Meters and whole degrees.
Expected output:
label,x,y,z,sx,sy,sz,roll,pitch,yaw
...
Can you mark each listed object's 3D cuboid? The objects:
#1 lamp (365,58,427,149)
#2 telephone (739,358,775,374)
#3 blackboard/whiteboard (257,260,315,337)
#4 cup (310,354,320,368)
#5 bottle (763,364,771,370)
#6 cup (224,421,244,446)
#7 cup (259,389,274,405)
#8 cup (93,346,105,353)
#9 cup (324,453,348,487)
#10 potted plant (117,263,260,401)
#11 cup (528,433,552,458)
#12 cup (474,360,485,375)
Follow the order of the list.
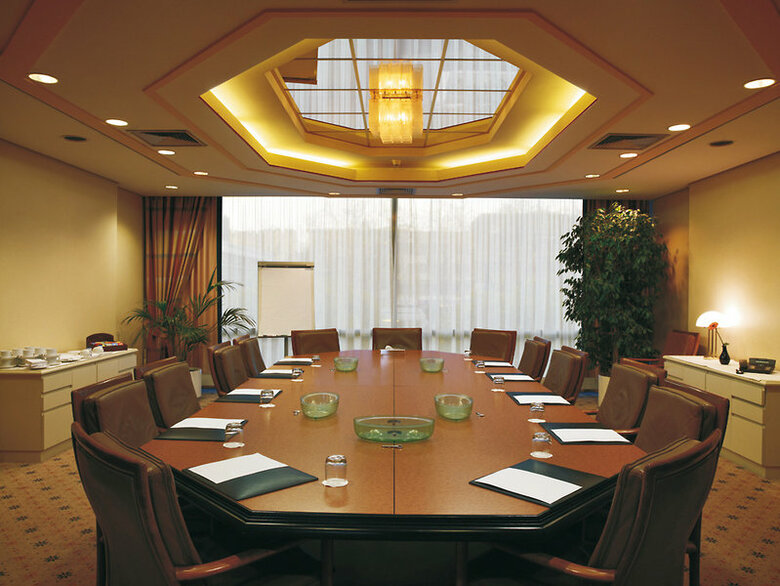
label,x,y,z,sx,sy,sz,roll,pitch,yaw
lamp,0.049,-1.620,4.515,0.467,0.485,0.647,1,1,0
telephone,3.388,0.667,4.905,0.174,0.090,0.209,-2,-7,25
blackboard/whiteboard,-1.495,0.090,7.540,1.035,1.408,0.144,0,-4,-4
cup,-0.719,0.641,5.021,0.088,0.107,0.090,1,3,0
bottle,3.428,0.669,4.824,0.041,0.053,0.074,6,-6,-42
cup,-0.849,0.768,2.907,0.102,0.102,0.100,2,1,0
cup,-0.830,0.704,3.621,0.092,0.126,0.095,0,-10,0
cup,-3.126,0.602,5.671,0.078,0.059,0.079,1,-8,0
cup,-0.255,0.836,2.498,0.117,0.106,0.110,1,-4,0
potted plant,-2.932,0.453,7.743,1.656,1.696,1.468,0,2,-40
cup,0.786,0.803,2.781,0.097,0.096,0.098,0,-8,0
cup,0.829,0.680,4.876,0.074,0.141,0.080,3,-2,0
